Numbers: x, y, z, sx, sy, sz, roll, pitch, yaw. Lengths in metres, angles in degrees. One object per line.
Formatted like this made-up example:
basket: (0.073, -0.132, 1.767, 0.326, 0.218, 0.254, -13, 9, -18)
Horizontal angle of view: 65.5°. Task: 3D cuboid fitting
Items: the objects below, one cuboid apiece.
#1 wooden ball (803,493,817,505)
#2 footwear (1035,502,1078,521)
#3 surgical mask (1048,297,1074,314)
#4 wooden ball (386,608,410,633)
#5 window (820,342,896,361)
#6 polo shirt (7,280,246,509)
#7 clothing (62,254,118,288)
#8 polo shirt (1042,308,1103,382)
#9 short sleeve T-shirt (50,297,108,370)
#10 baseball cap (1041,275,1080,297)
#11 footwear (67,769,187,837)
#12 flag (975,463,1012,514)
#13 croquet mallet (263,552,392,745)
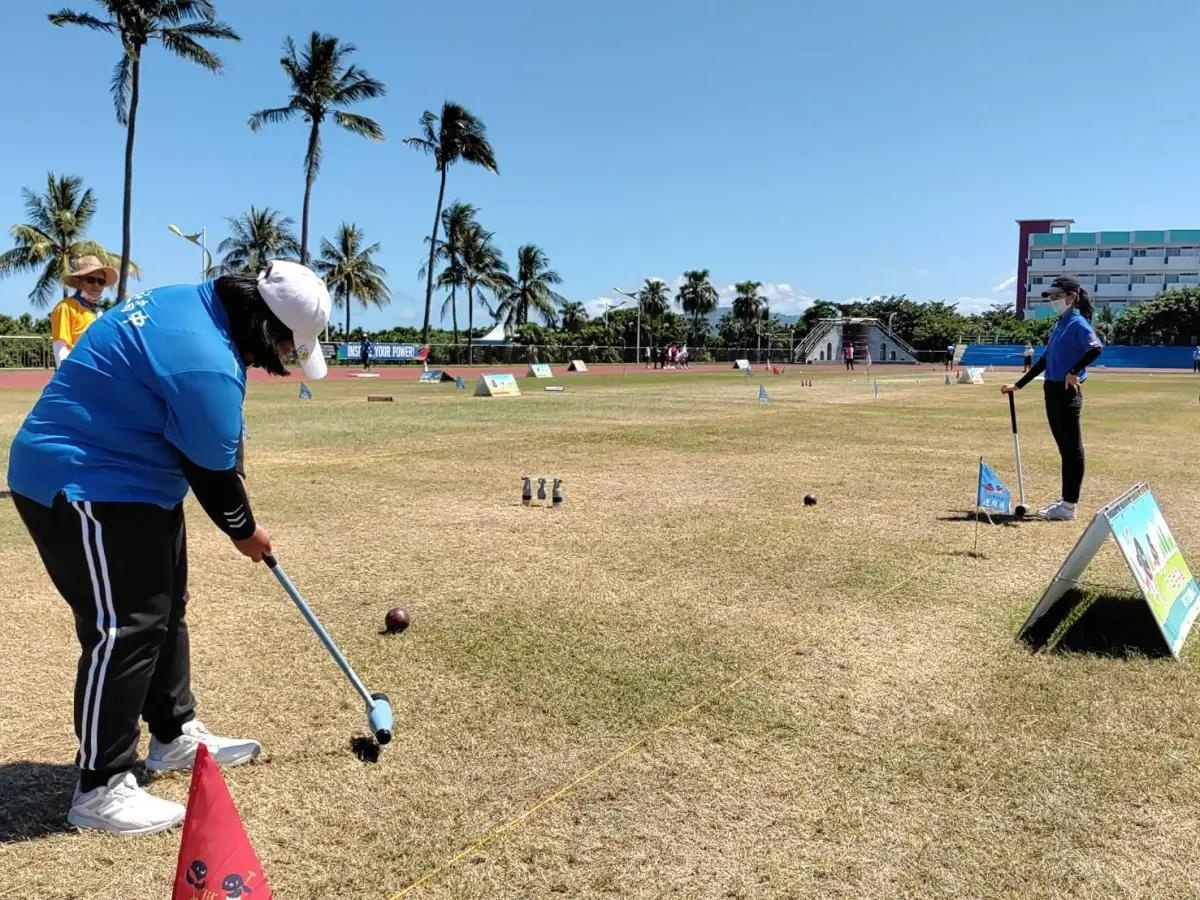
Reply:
wooden ball: (2.056, 0.502, 9.205, 0.126, 0.103, 0.094, -2, 8, 17)
footwear: (4.190, 0.577, 8.622, 0.361, 0.173, 0.151, 1, 2, 28)
surgical mask: (4.224, -1.265, 8.561, 0.140, 0.108, 0.137, -14, 3, 21)
wooden ball: (-1.258, 1.046, 5.763, 0.131, 0.160, 0.132, 10, -9, 1)
window: (22.789, -8.492, 82.928, 4.814, 1.471, 3.399, 0, 2, -7)
polo shirt: (-1.954, -0.189, 3.836, 0.915, 0.913, 0.368, -2, 10, -13)
clothing: (-4.166, -1.461, 7.572, 0.433, 0.207, 0.479, -7, -19, -35)
polo shirt: (4.227, -0.897, 8.401, 0.374, 0.638, 0.539, -8, 13, -42)
short sleeve T-shirt: (-4.422, -1.087, 7.947, 0.336, 0.746, 0.641, 6, -26, -38)
baseball cap: (4.279, -1.477, 8.575, 0.400, 0.217, 0.277, 2, 3, 11)
footwear: (-2.039, 1.498, 4.017, 0.475, 0.238, 0.224, 8, 3, -4)
flag: (3.598, 0.388, 8.593, 0.420, 0.591, 0.065, 3, -11, 12)
croquet mallet: (-1.565, 1.156, 5.327, 0.099, 1.002, 0.259, -31, 13, 23)
